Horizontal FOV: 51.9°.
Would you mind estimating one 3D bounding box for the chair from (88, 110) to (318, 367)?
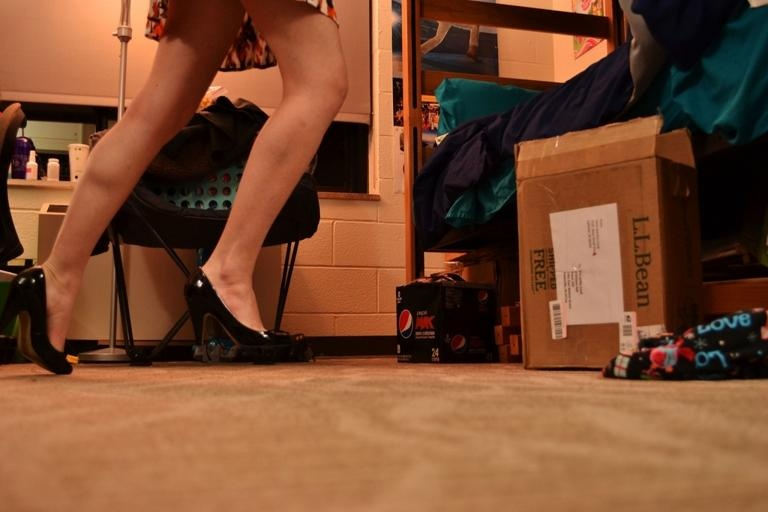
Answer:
[{"bbox_3d":[-0.569,-0.068,2.513,0.679,0.858,0.748,-1,-2,-18],"label":"chair"}]
